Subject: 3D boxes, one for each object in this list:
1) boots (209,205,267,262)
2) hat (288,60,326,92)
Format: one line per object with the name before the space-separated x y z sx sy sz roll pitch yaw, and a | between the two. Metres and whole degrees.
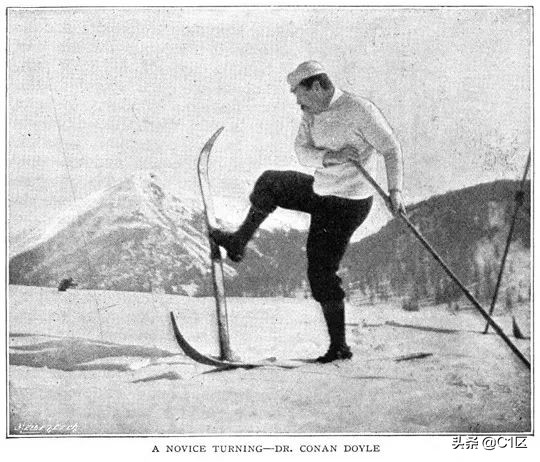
boots | -0.168 -0.005 4.435 0.321 0.185 0.354 17 -10 18
hat | 0.170 -0.795 4.503 0.170 0.141 0.135 -23 27 35
